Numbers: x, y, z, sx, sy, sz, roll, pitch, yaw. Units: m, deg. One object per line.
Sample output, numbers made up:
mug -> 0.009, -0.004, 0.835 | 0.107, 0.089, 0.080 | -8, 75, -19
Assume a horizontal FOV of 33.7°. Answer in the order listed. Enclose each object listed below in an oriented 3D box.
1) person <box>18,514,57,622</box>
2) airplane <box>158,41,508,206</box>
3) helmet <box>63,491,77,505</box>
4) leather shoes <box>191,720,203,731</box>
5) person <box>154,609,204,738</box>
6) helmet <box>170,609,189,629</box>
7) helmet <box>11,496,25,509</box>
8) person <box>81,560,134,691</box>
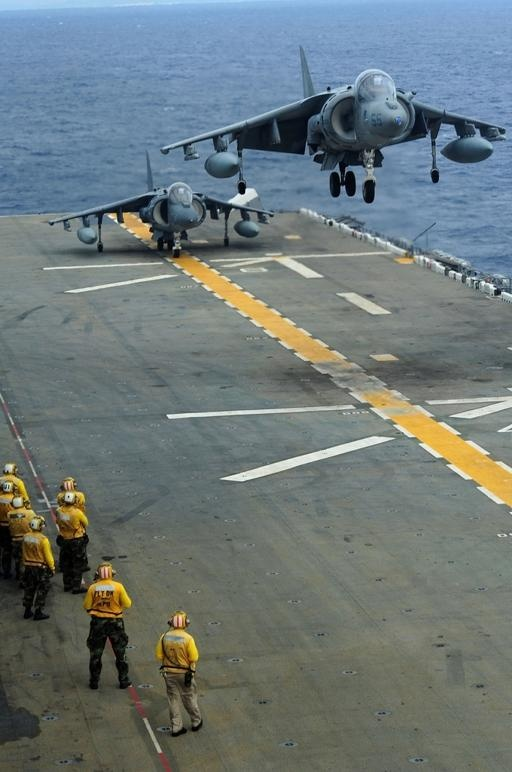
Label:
person -> -4.089, 3.432, 15.721 | 0.652, 1.977, 0.525 | -2, 16, -4
airplane -> 3.582, -11.368, 37.636 | 10.569, 6.378, 12.743 | 6, 15, 25
helmet -> -3.613, 2.191, 16.393 | 0.330, 0.221, 0.155 | 1, 8, 1
leather shoes -> -0.842, 4.861, 12.072 | 0.091, 0.093, 0.219 | 1, 0, 10
person -> -1.097, 3.992, 12.122 | 0.577, 2.000, 1.134 | -3, 16, -5
helmet -> -1.077, 3.236, 11.588 | 0.216, 0.288, 0.233 | 1, 15, 7
helmet -> -4.751, 2.336, 16.854 | 0.235, 0.223, 0.271 | 0, 14, 2
person -> -2.332, 3.762, 13.286 | 0.706, 2.080, 0.675 | -4, 16, -9
